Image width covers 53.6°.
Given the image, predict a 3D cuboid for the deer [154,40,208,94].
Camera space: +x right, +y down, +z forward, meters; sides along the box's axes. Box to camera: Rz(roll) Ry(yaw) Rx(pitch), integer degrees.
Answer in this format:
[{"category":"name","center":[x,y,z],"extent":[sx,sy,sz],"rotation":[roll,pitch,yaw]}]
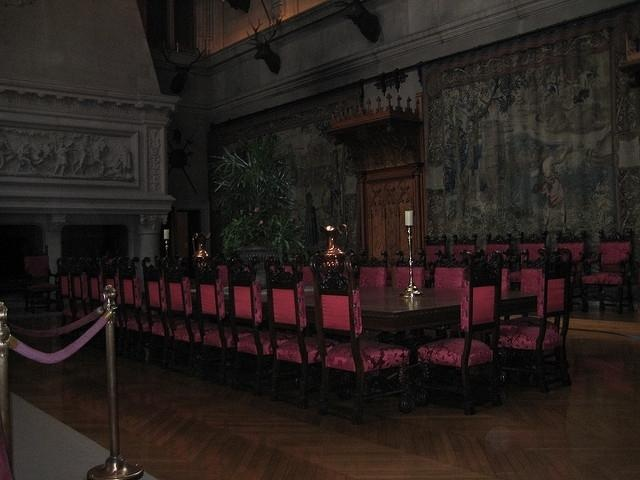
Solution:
[{"category":"deer","center":[-3.300,-4.160,15.252],"extent":[0.905,1.220,0.567],"rotation":[3,-1,-10]}]

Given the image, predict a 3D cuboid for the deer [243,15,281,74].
[{"category":"deer","center":[-1.159,-4.127,13.750],"extent":[0.460,1.036,0.786],"rotation":[3,17,40]}]
